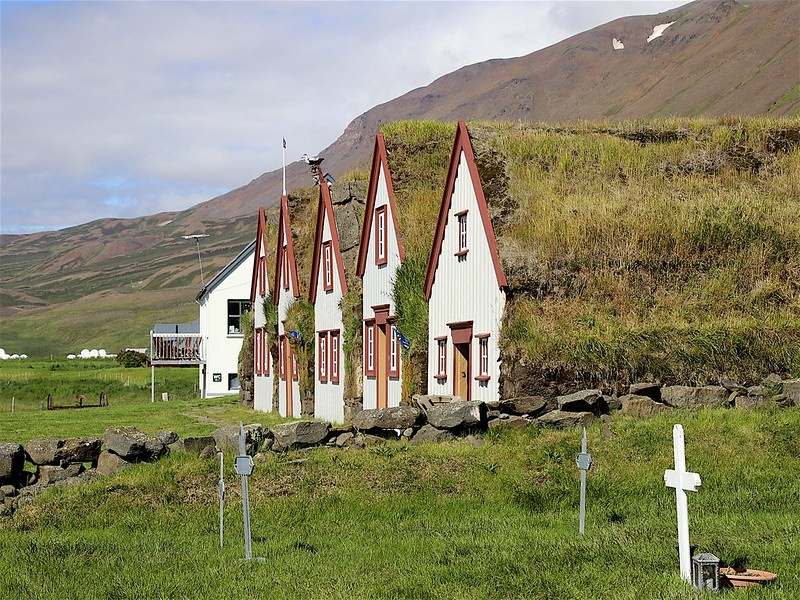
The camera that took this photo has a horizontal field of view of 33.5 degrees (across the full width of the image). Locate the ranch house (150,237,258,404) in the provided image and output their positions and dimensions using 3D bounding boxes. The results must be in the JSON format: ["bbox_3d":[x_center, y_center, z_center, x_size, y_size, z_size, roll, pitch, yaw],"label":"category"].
[{"bbox_3d":[-10.897,1.101,77.847,7.132,9.695,9.604,2,0,-14],"label":"ranch house"}]

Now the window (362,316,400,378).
[{"bbox_3d":[-0.596,1.589,44.282,0.164,1.779,1.886,3,-5,-28],"label":"window"}]

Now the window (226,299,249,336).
[{"bbox_3d":[-8.797,0.903,71.525,0.126,2.116,1.581,-6,11,-41],"label":"window"}]

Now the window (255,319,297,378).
[{"bbox_3d":[-5.168,2.033,55.960,0.274,1.938,2.502,2,-3,-27],"label":"window"}]

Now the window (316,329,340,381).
[{"bbox_3d":[-2.648,2.036,49.068,0.146,1.639,1.771,1,-4,-18],"label":"window"}]

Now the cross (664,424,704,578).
[{"bbox_3d":[5.717,4.093,26.886,0.619,3.150,1.249,-3,-6,5],"label":"cross"}]
